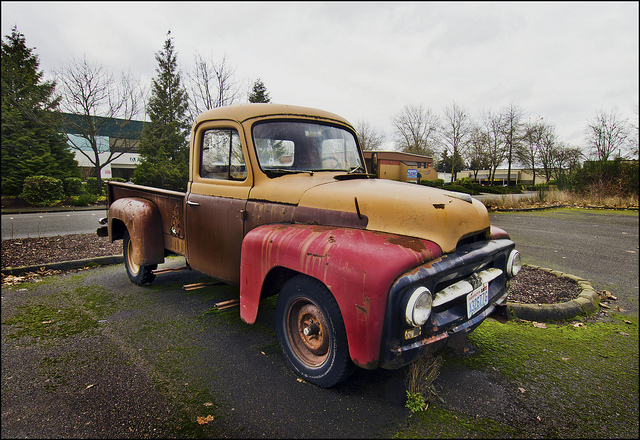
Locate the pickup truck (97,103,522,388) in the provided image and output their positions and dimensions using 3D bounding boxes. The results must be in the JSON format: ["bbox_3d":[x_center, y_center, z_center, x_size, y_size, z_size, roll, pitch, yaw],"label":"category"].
[{"bbox_3d":[-0.776,-0.039,5.216,5.554,2.604,2.758,8,9,44],"label":"pickup truck"}]

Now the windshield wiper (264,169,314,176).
[{"bbox_3d":[-0.435,-0.638,4.722,0.552,0.070,0.095,0,7,-20],"label":"windshield wiper"}]
